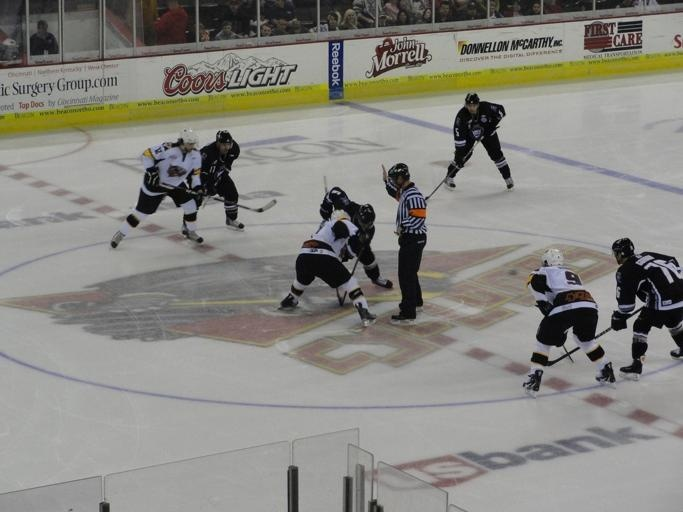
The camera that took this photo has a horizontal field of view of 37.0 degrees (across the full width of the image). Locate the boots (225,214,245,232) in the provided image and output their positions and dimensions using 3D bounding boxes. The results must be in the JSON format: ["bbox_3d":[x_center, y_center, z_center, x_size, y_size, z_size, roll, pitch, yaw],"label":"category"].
[{"bbox_3d":[-1.371,-0.427,13.454,0.297,0.148,0.125,9,28,21],"label":"boots"}]

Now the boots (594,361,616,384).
[{"bbox_3d":[2.529,1.123,9.717,0.115,0.191,0.300,-14,20,-15],"label":"boots"}]

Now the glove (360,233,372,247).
[{"bbox_3d":[0.262,-0.184,11.063,0.121,0.100,0.133,1,-4,10],"label":"glove"}]

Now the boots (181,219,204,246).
[{"bbox_3d":[-1.905,-0.283,13.035,0.370,0.242,0.127,34,56,16],"label":"boots"}]

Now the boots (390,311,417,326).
[{"bbox_3d":[0.656,0.674,10.852,0.285,0.101,0.116,4,18,8],"label":"boots"}]

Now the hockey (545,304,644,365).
[{"bbox_3d":[2.454,0.786,9.936,1.113,0.099,0.136,-27,51,-7],"label":"hockey"}]

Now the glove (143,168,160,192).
[{"bbox_3d":[-2.315,-0.932,12.471,0.234,0.226,0.266,-2,16,-13],"label":"glove"}]

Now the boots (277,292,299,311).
[{"bbox_3d":[-0.560,0.522,11.113,0.294,0.112,0.249,4,-30,-24],"label":"boots"}]

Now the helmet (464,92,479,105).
[{"bbox_3d":[1.854,-2.226,14.530,0.201,0.175,0.216,2,23,7],"label":"helmet"}]

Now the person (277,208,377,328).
[{"bbox_3d":[-0.129,0.188,11.292,1.453,1.284,0.761,7,-14,11],"label":"person"}]

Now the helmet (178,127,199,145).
[{"bbox_3d":[-1.839,-1.470,12.363,0.257,0.206,0.171,11,40,15],"label":"helmet"}]

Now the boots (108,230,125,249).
[{"bbox_3d":[-2.793,-0.204,12.695,0.167,0.248,0.076,34,-9,10],"label":"boots"}]

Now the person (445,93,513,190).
[{"bbox_3d":[1.907,-1.667,14.846,1.131,1.382,0.857,-11,23,1],"label":"person"}]

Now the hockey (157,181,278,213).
[{"bbox_3d":[-1.639,-0.783,14.003,1.915,0.390,0.323,14,18,37],"label":"hockey"}]

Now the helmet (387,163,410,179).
[{"bbox_3d":[0.633,-0.934,11.102,0.259,0.189,0.178,9,1,6],"label":"helmet"}]

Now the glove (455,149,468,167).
[{"bbox_3d":[1.798,-1.426,14.989,0.217,0.236,0.194,6,9,-30],"label":"glove"}]

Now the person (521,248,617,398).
[{"bbox_3d":[2.154,0.698,9.636,0.843,1.162,0.509,0,15,9],"label":"person"}]

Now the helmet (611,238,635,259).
[{"bbox_3d":[2.750,-0.071,10.043,0.207,0.177,0.242,-11,21,-39],"label":"helmet"}]

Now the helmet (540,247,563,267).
[{"bbox_3d":[2.078,0.015,9.830,0.172,0.165,0.196,-1,21,-18],"label":"helmet"}]

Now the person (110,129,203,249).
[{"bbox_3d":[-2.240,-0.840,12.671,1.021,1.455,0.613,-3,14,-4],"label":"person"}]

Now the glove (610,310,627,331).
[{"bbox_3d":[2.726,0.639,10.024,0.188,0.174,0.194,-4,17,-6],"label":"glove"}]
